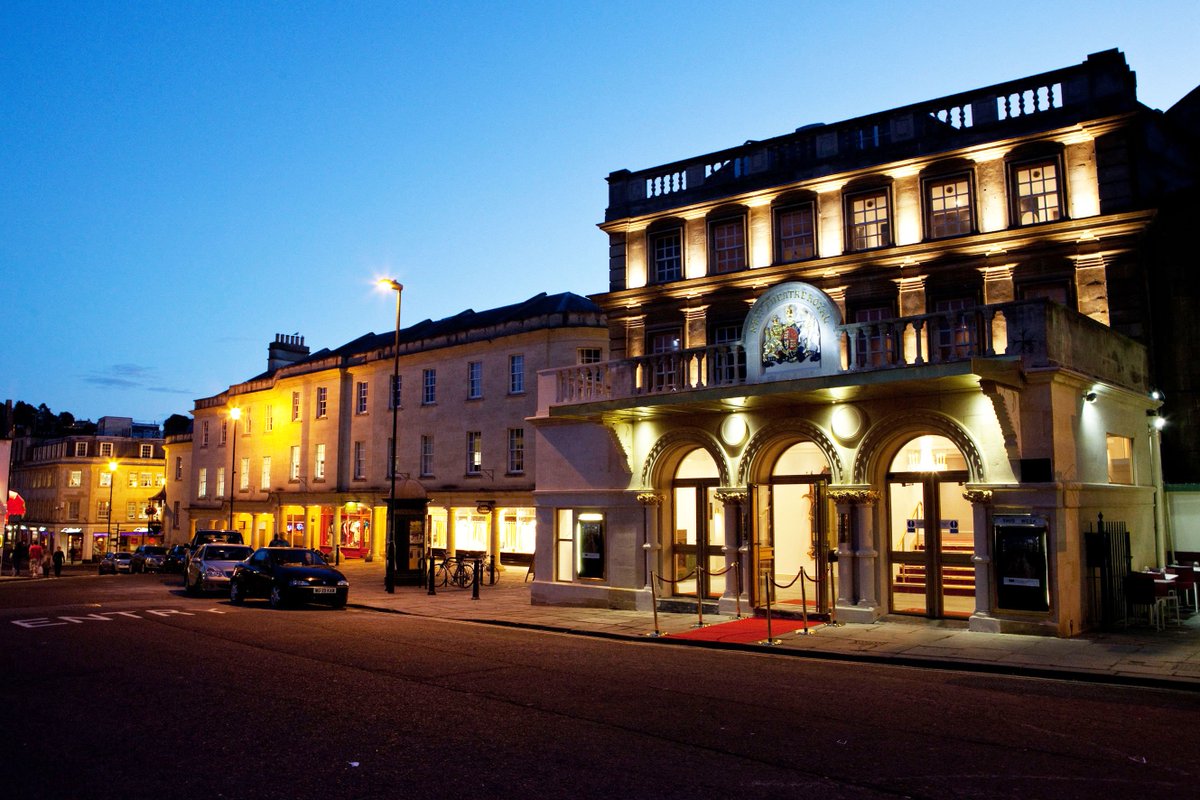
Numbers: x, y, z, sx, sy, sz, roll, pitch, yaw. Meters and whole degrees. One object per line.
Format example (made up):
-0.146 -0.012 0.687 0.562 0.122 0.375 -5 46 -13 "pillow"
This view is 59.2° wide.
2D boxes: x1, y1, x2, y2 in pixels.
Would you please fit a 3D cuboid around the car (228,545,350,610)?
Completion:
-8.967 5.169 30.960 3.547 1.762 1.589 -10 -16 39 "car"
